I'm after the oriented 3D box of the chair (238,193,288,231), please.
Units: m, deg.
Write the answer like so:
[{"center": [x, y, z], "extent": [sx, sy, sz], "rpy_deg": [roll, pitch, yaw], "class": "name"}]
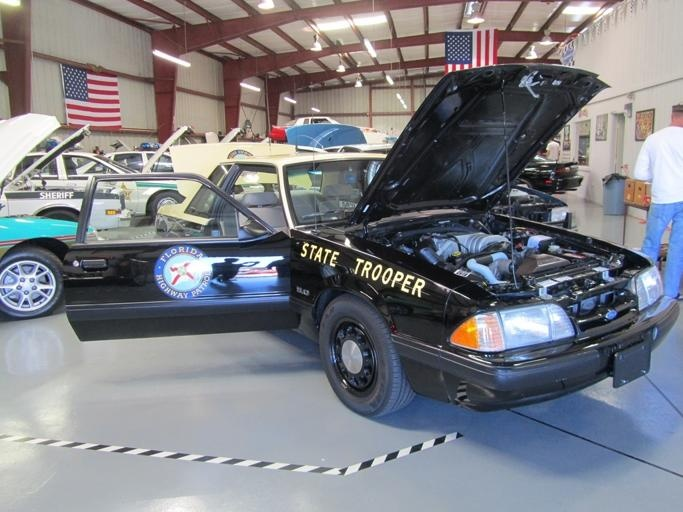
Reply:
[{"center": [-0.581, -0.341, 3.655], "extent": [0.408, 0.305, 0.330], "rpy_deg": [-4, 9, -26], "class": "chair"}]
